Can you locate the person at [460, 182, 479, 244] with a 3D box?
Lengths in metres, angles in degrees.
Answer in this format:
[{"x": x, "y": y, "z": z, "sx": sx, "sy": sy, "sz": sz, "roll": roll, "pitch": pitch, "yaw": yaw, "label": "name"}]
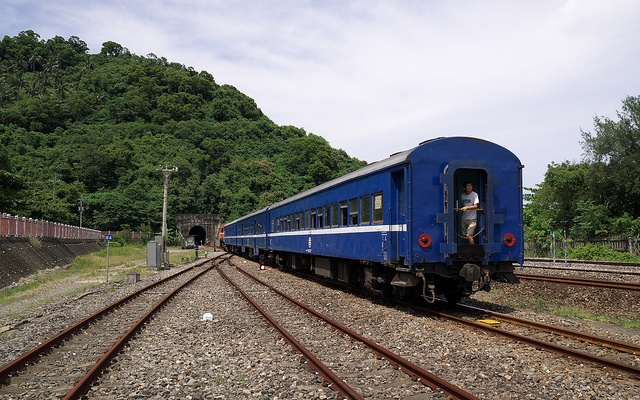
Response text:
[{"x": 4.600, "y": 0.414, "z": 12.420, "sx": 0.553, "sy": 1.885, "sz": 0.571, "roll": -3, "pitch": -5, "yaw": 19, "label": "person"}]
